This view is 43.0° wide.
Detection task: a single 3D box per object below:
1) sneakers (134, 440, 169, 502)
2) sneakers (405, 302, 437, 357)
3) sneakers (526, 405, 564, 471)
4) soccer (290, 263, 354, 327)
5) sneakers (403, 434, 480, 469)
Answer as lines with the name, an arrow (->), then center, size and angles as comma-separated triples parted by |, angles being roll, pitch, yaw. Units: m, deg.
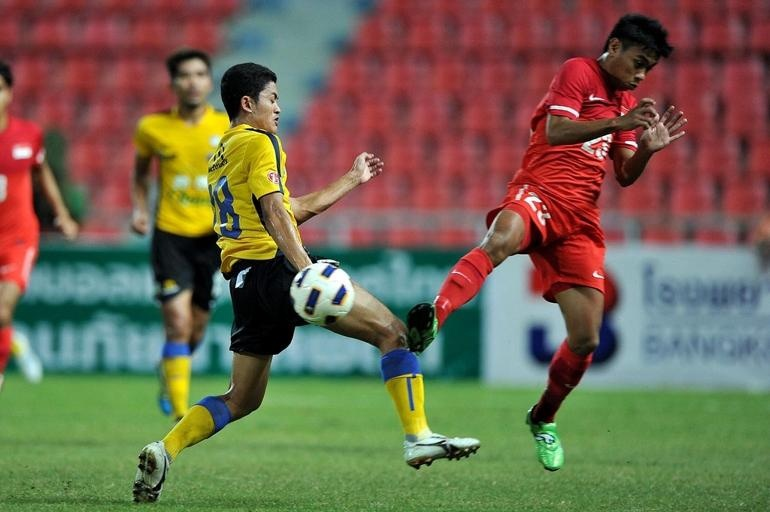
sneakers -> -1.761, 1.605, 7.319 | 0.193, 0.504, 0.243 | 11, -5, 5
sneakers -> 0.329, 0.566, 7.444 | 0.260, 0.352, 0.133 | 6, -6, 40
sneakers -> 1.362, 1.591, 8.246 | 0.214, 0.595, 0.268 | -12, -32, -8
soccer -> -0.431, 0.273, 7.219 | 0.489, 0.455, 0.469 | -2, 28, 3
sneakers -> 0.406, 1.408, 7.266 | 0.606, 0.263, 0.228 | -12, -25, -2
